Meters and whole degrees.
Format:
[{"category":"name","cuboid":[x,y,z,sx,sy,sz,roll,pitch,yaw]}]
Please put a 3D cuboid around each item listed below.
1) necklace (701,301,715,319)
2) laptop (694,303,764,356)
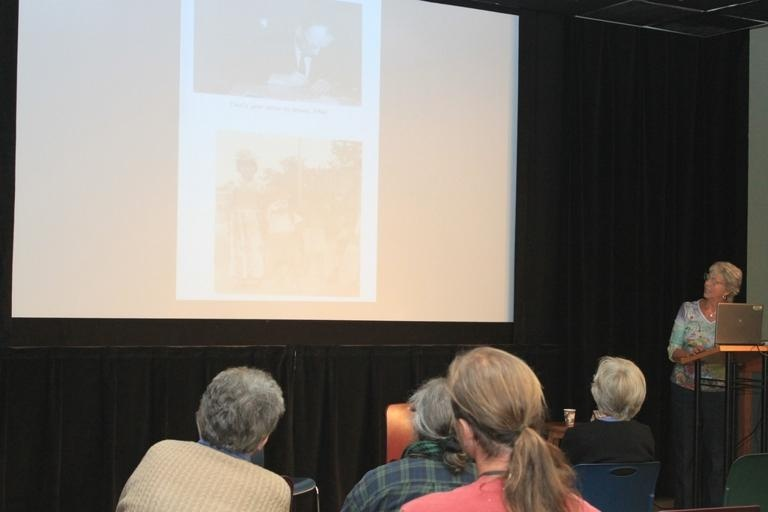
[{"category":"necklace","cuboid":[2.531,0.425,6.329,0.100,0.132,0.061,-20,-17,35]},{"category":"laptop","cuboid":[2.529,0.526,5.919,0.498,0.354,0.361,3,-5,-18]}]
